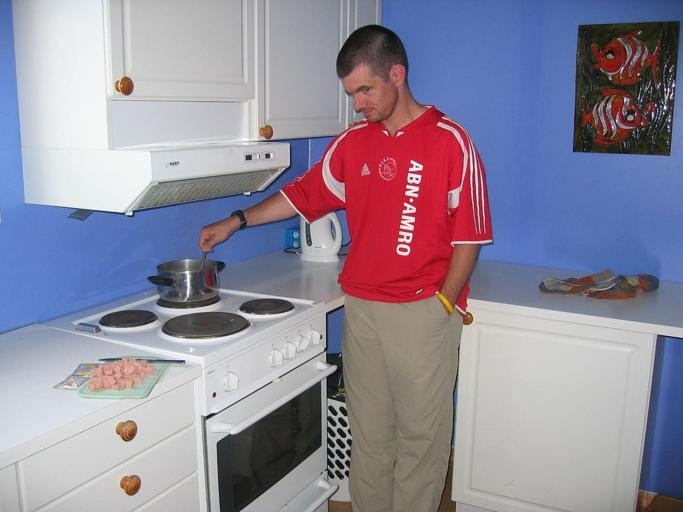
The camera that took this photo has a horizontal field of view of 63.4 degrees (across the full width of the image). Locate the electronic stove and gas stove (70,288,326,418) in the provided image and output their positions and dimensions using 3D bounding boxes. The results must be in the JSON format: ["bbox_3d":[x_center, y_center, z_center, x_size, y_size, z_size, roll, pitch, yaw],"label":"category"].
[{"bbox_3d":[-0.561,0.192,2.452,1.209,0.289,1.100,8,14,32],"label":"electronic stove and gas stove"}]

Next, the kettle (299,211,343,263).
[{"bbox_3d":[-0.108,-0.118,2.868,0.166,0.280,0.246,5,11,28],"label":"kettle"}]

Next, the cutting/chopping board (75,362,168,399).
[{"bbox_3d":[-0.639,0.366,1.615,0.189,0.027,0.251,17,15,35],"label":"cutting/chopping board"}]

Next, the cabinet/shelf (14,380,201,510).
[{"bbox_3d":[-0.648,0.392,1.516,0.241,0.327,0.483,8,13,27],"label":"cabinet/shelf"}]

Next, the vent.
[{"bbox_3d":[-0.487,-0.316,2.078,0.201,0.212,0.651,16,21,35],"label":"vent"}]

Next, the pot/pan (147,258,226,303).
[{"bbox_3d":[-0.607,0.075,2.231,0.250,0.185,0.260,13,16,27],"label":"pot/pan"}]

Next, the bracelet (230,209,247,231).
[{"bbox_3d":[-0.430,-0.139,2.318,0.051,0.079,0.081,-22,49,-21],"label":"bracelet"}]

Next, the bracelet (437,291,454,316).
[{"bbox_3d":[0.380,0.172,2.011,0.057,0.084,0.033,0,12,-2],"label":"bracelet"}]
